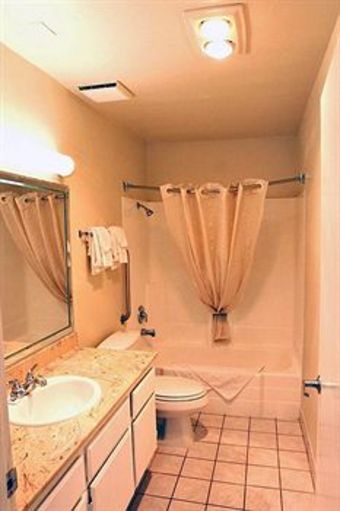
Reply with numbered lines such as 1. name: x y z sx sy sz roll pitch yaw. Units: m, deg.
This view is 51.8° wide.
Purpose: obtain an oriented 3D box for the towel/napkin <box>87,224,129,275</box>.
1. towel/napkin: -0.451 -0.041 2.493 0.082 0.238 0.366 -1 10 13

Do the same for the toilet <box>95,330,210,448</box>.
1. toilet: -0.028 0.950 2.770 0.878 0.933 0.576 -1 4 12
